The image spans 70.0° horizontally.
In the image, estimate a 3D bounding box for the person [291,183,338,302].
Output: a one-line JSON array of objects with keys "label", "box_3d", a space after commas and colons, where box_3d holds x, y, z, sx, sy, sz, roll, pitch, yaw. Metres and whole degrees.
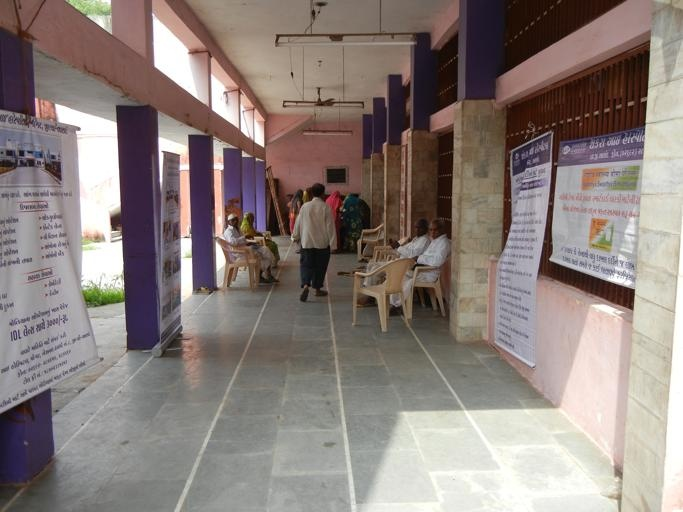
[{"label": "person", "box_3d": [-0.437, -0.207, 7.800, 0.669, 1.844, 0.499, -2, 7, -8]}]

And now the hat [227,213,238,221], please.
[{"label": "hat", "box_3d": [-1.972, -0.683, 8.728, 0.148, 0.107, 0.208, -27, 3, -15]}]

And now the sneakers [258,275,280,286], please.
[{"label": "sneakers", "box_3d": [-1.380, 0.494, 9.187, 0.358, 0.166, 0.143, 2, 2, 0]}]

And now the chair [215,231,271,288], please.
[{"label": "chair", "box_3d": [-1.759, 0.042, 8.849, 0.811, 1.146, 0.853, -1, 8, -3]}]

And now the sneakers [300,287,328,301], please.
[{"label": "sneakers", "box_3d": [-0.426, 0.636, 7.903, 0.535, 0.243, 0.190, -2, 5, -17]}]

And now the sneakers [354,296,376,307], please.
[{"label": "sneakers", "box_3d": [0.373, 0.710, 7.436, 0.351, 0.251, 0.121, 2, 3, -19]}]

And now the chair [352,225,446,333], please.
[{"label": "chair", "box_3d": [0.790, 0.207, 6.636, 0.979, 1.325, 1.381, 5, 10, 40]}]
